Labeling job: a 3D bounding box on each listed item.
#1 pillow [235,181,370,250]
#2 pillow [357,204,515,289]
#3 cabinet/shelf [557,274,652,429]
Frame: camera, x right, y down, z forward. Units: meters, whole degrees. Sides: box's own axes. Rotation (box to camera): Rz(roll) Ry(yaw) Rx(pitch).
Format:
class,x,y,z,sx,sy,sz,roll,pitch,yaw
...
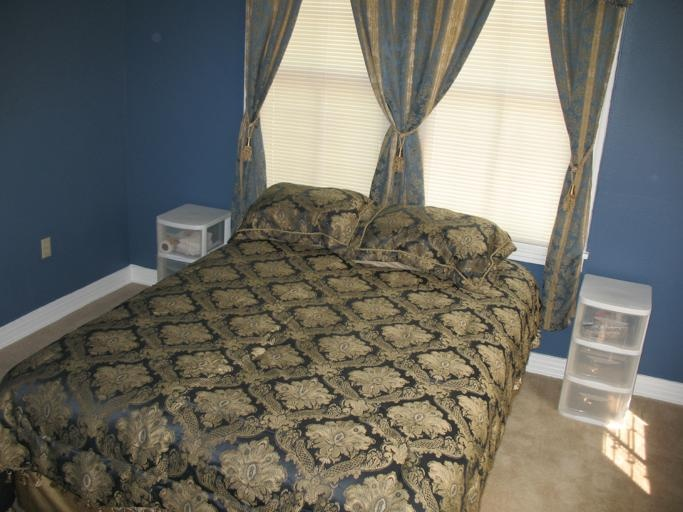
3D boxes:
class,x,y,z,sx,sy,sz,roll,pitch,yaw
pillow,-0.249,-0.245,3.666,0.545,0.153,0.482,9,38,14
pillow,0.508,-0.078,3.441,0.583,0.180,0.539,12,31,22
cabinet/shelf,1.557,0.578,3.601,0.389,0.809,0.329,13,17,21
